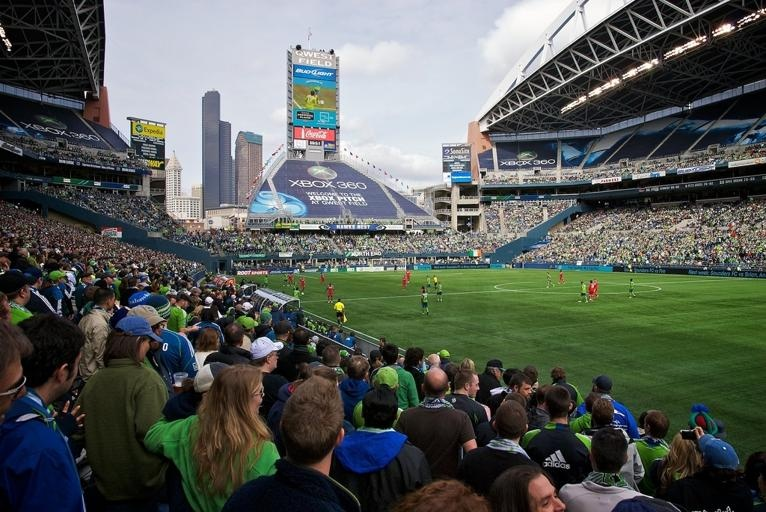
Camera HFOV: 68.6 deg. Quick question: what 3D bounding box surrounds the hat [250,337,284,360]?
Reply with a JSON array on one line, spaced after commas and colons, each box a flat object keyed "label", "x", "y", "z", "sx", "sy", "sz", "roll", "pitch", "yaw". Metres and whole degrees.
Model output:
[{"label": "hat", "x": -1.791, "y": 1.412, "z": 8.688, "sx": 0.444, "sy": 0.192, "sz": 0.306, "roll": -15, "pitch": 18, "yaw": -41}]

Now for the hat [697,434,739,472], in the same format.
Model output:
[{"label": "hat", "x": 4.287, "y": 2.513, "z": 7.172, "sx": 0.427, "sy": 0.459, "sz": 0.200, "roll": 1, "pitch": 0, "yaw": 25}]

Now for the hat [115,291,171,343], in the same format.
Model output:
[{"label": "hat", "x": -3.279, "y": 0.897, "z": 7.932, "sx": 0.906, "sy": 0.420, "sz": 0.532, "roll": -2, "pitch": 4, "yaw": -22}]

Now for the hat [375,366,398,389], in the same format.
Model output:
[{"label": "hat", "x": 0.029, "y": 1.824, "z": 8.325, "sx": 0.314, "sy": 0.321, "sz": 0.438, "roll": 1, "pitch": 0, "yaw": 21}]

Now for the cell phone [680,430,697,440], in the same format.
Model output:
[{"label": "cell phone", "x": 4.166, "y": 2.427, "z": 7.628, "sx": 0.200, "sy": 0.099, "sz": 0.020, "roll": -3, "pitch": -11, "yaw": 34}]

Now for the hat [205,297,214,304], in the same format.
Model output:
[{"label": "hat", "x": -5.585, "y": 1.410, "z": 17.875, "sx": 0.239, "sy": 0.175, "sz": 0.250, "roll": 11, "pitch": 7, "yaw": 1}]

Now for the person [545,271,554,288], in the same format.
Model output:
[{"label": "person", "x": 15.034, "y": 2.102, "z": 50.620, "sx": 1.015, "sy": 1.560, "sz": 1.072, "roll": 3, "pitch": -4, "yaw": -7}]

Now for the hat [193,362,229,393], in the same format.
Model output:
[{"label": "hat", "x": -2.157, "y": 1.467, "z": 6.969, "sx": 0.329, "sy": 0.243, "sz": 0.490, "roll": 9, "pitch": 16, "yaw": 32}]

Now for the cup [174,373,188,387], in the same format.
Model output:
[{"label": "cup", "x": -2.914, "y": 1.747, "z": 8.023, "sx": 0.258, "sy": 0.147, "sz": 0.212, "roll": 0, "pitch": 3, "yaw": -9}]

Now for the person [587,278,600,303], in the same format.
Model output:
[{"label": "person", "x": 13.319, "y": 2.114, "z": 35.434, "sx": 0.562, "sy": 1.346, "sz": 2.050, "roll": 1, "pitch": 0, "yaw": 19}]
